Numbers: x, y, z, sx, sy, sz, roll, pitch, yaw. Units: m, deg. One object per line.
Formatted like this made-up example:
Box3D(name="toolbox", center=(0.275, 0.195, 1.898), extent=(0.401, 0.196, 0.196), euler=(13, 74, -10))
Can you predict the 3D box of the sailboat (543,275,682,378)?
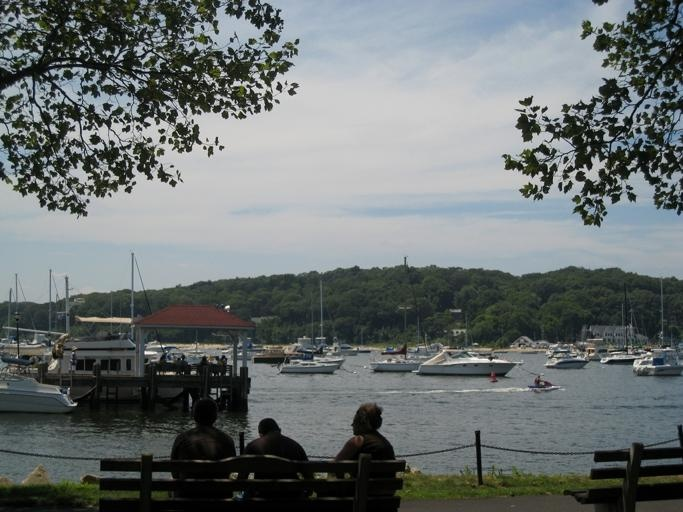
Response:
Box3D(name="sailboat", center=(31.526, 4.218, 151.803), extent=(19.863, 15.528, 13.415), euler=(-4, -5, 24))
